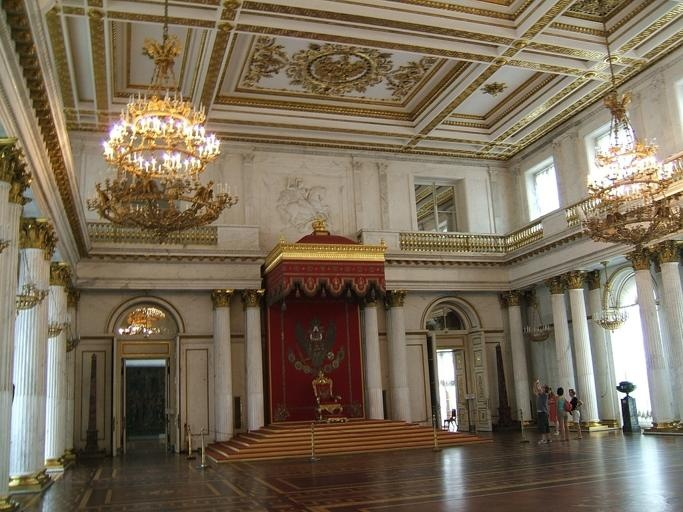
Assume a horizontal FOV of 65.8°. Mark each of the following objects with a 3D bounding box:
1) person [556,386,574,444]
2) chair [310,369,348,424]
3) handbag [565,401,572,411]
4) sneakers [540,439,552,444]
[{"bbox_3d":[6.266,4.371,14.761,0.399,1.376,1.132,-8,-15,19],"label":"person"},{"bbox_3d":[-0.416,4.469,17.004,0.989,1.554,1.431,-1,-14,-4],"label":"chair"},{"bbox_3d":[6.284,4.161,14.675,0.231,0.273,0.107,-3,-18,-13],"label":"handbag"},{"bbox_3d":[5.518,4.930,14.207,0.307,0.114,0.637,-7,-14,19],"label":"sneakers"}]
